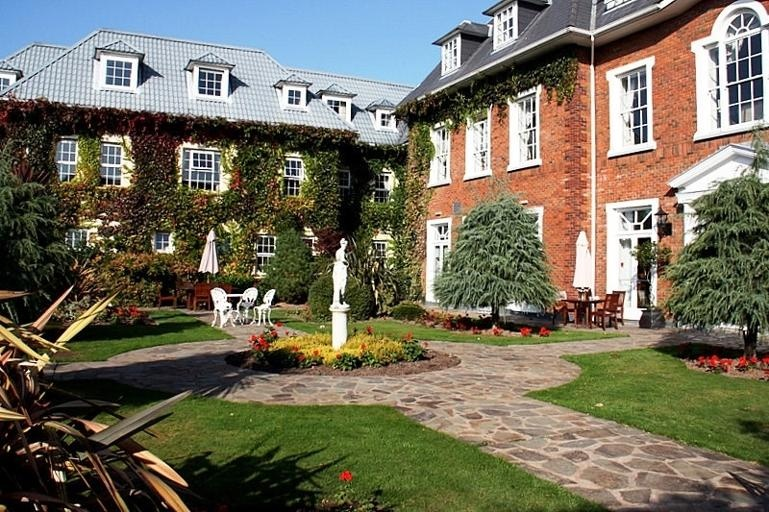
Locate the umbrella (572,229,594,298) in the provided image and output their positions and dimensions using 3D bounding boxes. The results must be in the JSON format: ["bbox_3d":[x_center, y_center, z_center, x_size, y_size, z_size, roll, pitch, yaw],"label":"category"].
[{"bbox_3d":[6.228,0.155,18.893,0.557,1.848,1.028,0,-4,18],"label":"umbrella"}]

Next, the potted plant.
[{"bbox_3d":[7.908,0.807,17.912,1.018,2.610,1.216,0,-4,20],"label":"potted plant"}]
